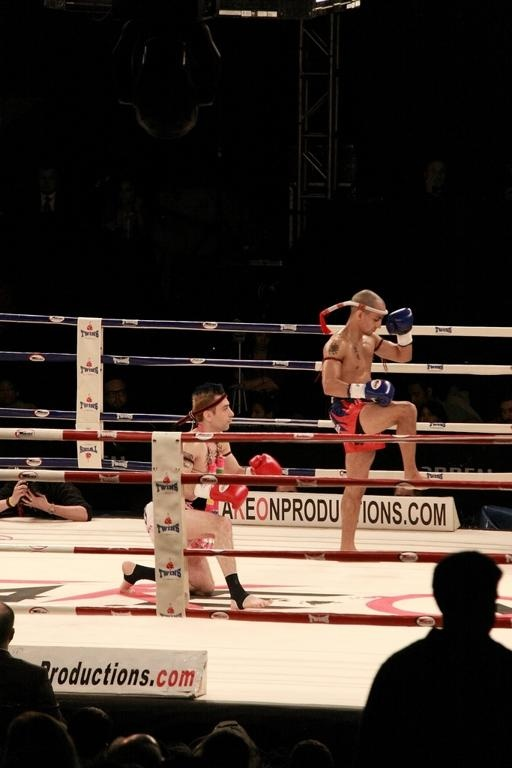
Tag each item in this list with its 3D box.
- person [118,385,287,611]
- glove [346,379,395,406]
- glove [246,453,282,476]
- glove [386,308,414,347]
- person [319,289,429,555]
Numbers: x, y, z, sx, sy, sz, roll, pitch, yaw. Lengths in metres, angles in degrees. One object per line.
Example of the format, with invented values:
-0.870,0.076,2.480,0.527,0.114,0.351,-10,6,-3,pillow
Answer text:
-0.260,0.433,3.728,0.561,0.926,0.905,2,-9,-8,person
0.589,0.039,4.566,0.199,0.128,0.084,-3,-39,17,glove
0.034,0.338,3.734,0.116,0.082,0.041,40,-33,0,glove
0.816,-0.333,5.066,0.166,0.078,0.209,8,-56,9,glove
0.593,0.151,4.630,0.527,1.395,1.140,-1,-9,9,person
